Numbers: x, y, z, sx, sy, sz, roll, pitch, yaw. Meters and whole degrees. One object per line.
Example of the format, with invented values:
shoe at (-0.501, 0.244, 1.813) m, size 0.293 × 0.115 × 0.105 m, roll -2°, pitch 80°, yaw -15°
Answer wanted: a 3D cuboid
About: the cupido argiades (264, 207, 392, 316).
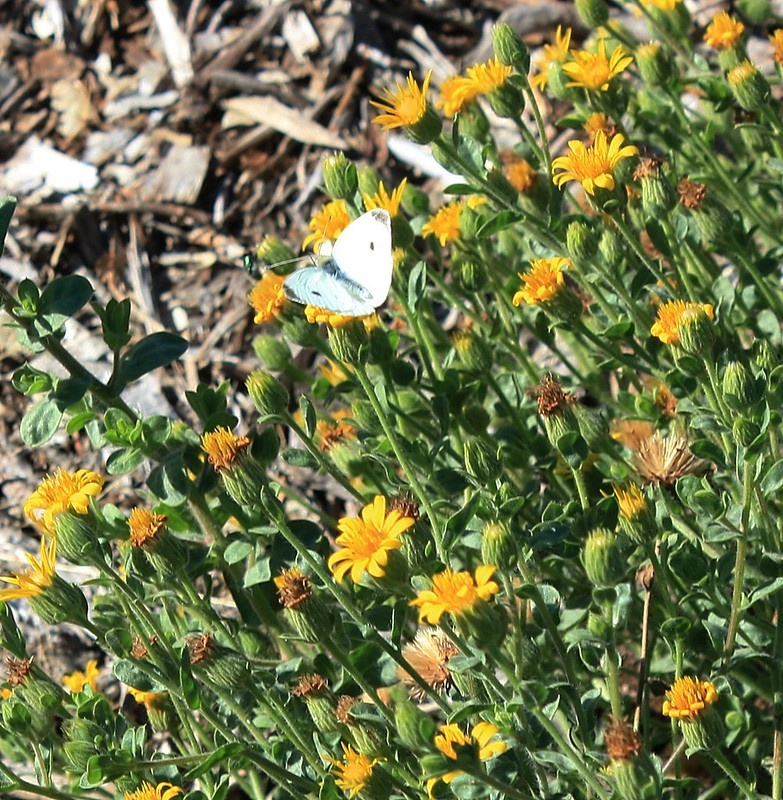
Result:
cupido argiades at (-0.105, -0.271, 2.243) m, size 0.164 × 0.094 × 0.191 m, roll -31°, pitch 23°, yaw 32°
